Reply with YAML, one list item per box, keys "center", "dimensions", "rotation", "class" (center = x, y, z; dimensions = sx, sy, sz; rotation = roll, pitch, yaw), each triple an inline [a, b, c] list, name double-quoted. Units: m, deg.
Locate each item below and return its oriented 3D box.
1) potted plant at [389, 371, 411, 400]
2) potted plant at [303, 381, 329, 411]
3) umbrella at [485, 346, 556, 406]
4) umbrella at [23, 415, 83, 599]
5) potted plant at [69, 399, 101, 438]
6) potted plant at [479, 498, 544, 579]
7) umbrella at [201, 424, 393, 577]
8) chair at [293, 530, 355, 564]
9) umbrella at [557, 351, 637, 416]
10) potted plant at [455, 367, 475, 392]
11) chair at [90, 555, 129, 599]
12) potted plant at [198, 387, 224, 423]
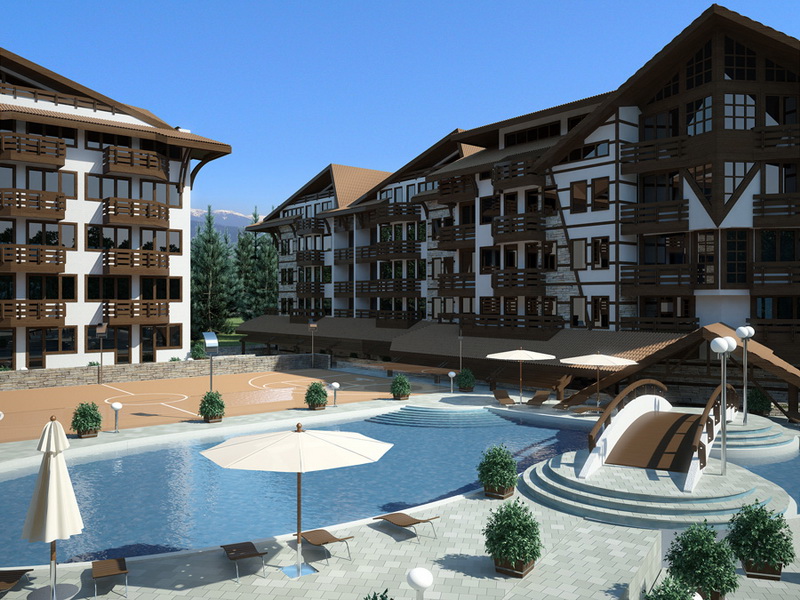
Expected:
- center: [-0.146, 5.048, 36.357]
  dimensions: [1.497, 1.384, 1.403]
  rotation: [0, 4, 14]
  class: "potted plant"
- center: [-4.474, 5.184, 33.795]
  dimensions: [1.460, 1.333, 1.488]
  rotation: [0, 1, 32]
  class: "potted plant"
- center: [6.951, 4.548, 34.869]
  dimensions: [3.821, 2.913, 3.755]
  rotation: [2, -2, -19]
  class: "umbrella"
- center: [-8.709, 5.145, 15.428]
  dimensions: [1.185, 4.426, 2.049]
  rotation: [-2, -2, -29]
  class: "umbrella"
- center: [-14.361, 5.410, 27.939]
  dimensions: [1.230, 1.570, 1.646]
  rotation: [-2, -2, 37]
  class: "potted plant"
- center: [2.874, 6.266, 16.912]
  dimensions: [1.929, 1.796, 1.769]
  rotation: [-3, 3, -15]
  class: "potted plant"
- center: [-3.123, 5.718, 17.777]
  dimensions: [4.769, 3.515, 4.696]
  rotation: [0, -1, 38]
  class: "umbrella"
- center: [-2.227, 6.842, 17.466]
  dimensions: [0.818, 0.450, 1.286]
  rotation: [1, 7, -41]
  class: "chair"
- center: [10.498, 4.234, 31.209]
  dimensions: [3.073, 2.391, 3.807]
  rotation: [-3, -1, 24]
  class: "umbrella"
- center: [4.090, 4.971, 38.774]
  dimensions: [1.558, 1.409, 1.373]
  rotation: [1, 2, 23]
  class: "potted plant"
- center: [-7.392, 7.106, 15.899]
  dimensions: [0.991, 0.858, 0.737]
  rotation: [3, -15, -28]
  class: "chair"
- center: [-9.457, 5.221, 30.953]
  dimensions: [1.513, 1.490, 1.540]
  rotation: [0, 1, -15]
  class: "potted plant"
